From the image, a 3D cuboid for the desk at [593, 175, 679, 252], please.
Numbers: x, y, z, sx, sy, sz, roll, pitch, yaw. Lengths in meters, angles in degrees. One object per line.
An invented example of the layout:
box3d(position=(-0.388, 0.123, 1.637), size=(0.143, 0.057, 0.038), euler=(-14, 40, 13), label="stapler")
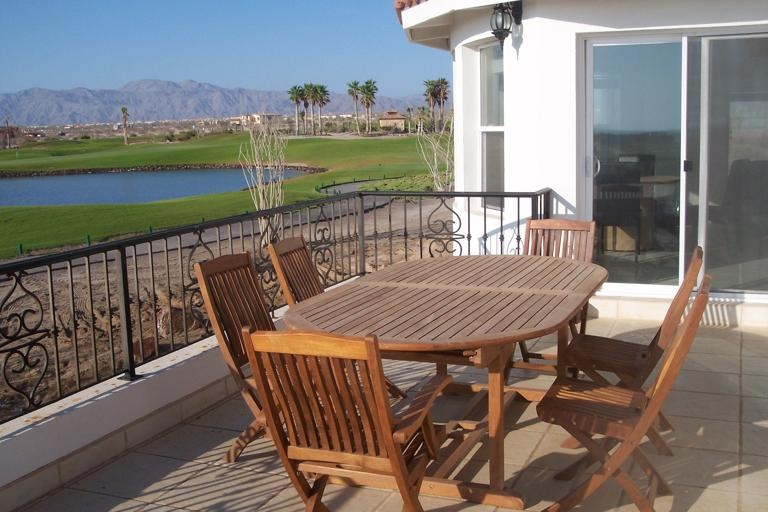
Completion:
box3d(position=(2.923, -0.505, 6.510), size=(1.021, 0.718, 0.837), euler=(0, 8, 8), label="desk")
